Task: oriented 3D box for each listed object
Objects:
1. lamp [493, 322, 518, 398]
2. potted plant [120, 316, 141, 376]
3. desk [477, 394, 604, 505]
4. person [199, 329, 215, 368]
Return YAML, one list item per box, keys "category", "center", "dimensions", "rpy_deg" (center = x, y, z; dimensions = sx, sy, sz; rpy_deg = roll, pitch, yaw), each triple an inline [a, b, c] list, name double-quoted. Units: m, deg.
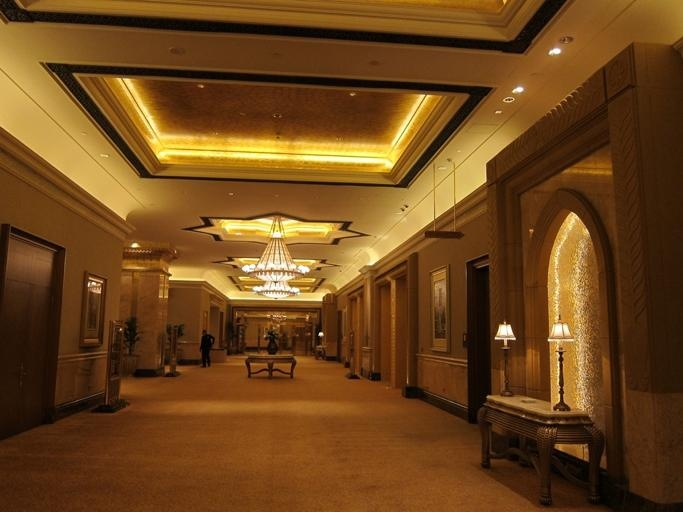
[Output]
- category: "lamp"
  center: [2.312, 1.415, 6.524]
  dimensions: [0.274, 1.016, 0.875]
  rpy_deg: [-2, -10, 19]
- category: "potted plant"
  center: [-7.913, 3.352, 17.506]
  dimensions: [0.565, 2.134, 1.128]
  rpy_deg: [4, -9, -23]
- category: "desk"
  center: [2.331, 2.273, 5.554]
  dimensions: [0.663, 1.007, 1.420]
  rpy_deg: [4, -10, -19]
- category: "person"
  center: [-6.894, 4.701, 23.660]
  dimensions: [0.550, 1.726, 1.272]
  rpy_deg: [3, -9, -17]
